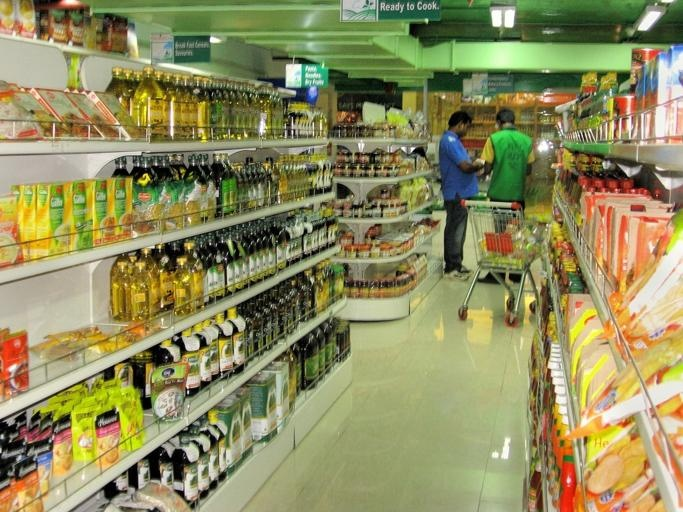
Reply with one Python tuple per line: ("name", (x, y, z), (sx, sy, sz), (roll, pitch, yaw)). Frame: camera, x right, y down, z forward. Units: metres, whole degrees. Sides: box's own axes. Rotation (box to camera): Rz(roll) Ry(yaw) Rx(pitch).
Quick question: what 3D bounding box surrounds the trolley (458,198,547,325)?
("trolley", (2.036, 0.014, 6.232), (1.032, 1.895, 1.980), (4, 17, 21))
